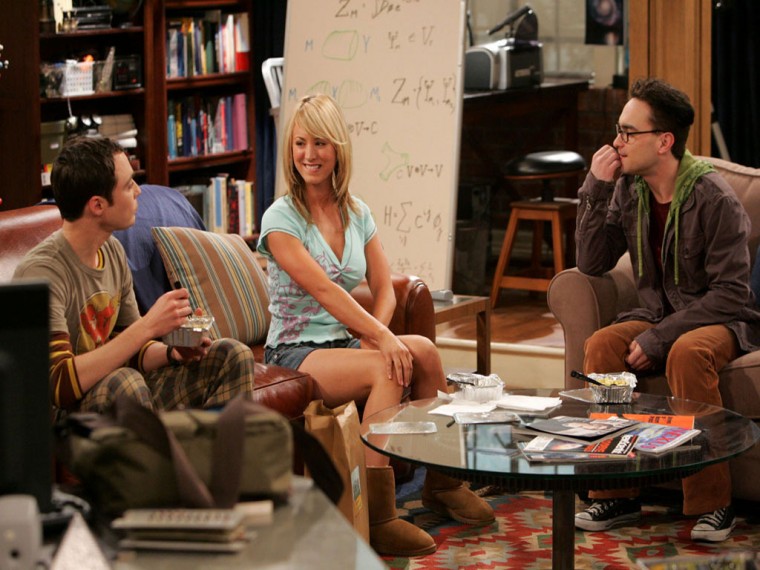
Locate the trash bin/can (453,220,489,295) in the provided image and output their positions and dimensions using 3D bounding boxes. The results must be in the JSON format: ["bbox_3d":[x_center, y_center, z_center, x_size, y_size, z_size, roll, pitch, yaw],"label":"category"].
[{"bbox_3d":[0.640,-0.178,5.206,0.305,0.521,0.303,5,9,17],"label":"trash bin/can"}]

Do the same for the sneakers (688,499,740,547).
[{"bbox_3d":[1.125,0.779,2.511,0.266,0.122,0.095,0,-12,-42],"label":"sneakers"}]

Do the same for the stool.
[{"bbox_3d":[1.085,-0.362,4.931,0.672,0.927,0.611,-5,6,-34],"label":"stool"}]

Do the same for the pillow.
[{"bbox_3d":[-0.615,0.015,2.722,0.153,0.313,0.447,-40,-17,19],"label":"pillow"}]

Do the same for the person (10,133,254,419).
[{"bbox_3d":[-0.692,0.127,2.200,0.654,1.051,0.578,-3,7,-4],"label":"person"}]

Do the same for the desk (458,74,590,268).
[{"bbox_3d":[0.962,-0.808,5.082,1.018,1.078,0.832,6,25,22],"label":"desk"}]

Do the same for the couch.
[{"bbox_3d":[-0.566,-0.090,2.755,1.221,1.135,1.359,9,17,28],"label":"couch"}]

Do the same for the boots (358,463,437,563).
[{"bbox_3d":[0.025,0.710,2.388,0.303,0.263,0.131,-2,-10,28],"label":"boots"}]

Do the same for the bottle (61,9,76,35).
[{"bbox_3d":[-1.687,-1.427,4.093,0.092,0.124,0.033,-5,6,-23],"label":"bottle"}]

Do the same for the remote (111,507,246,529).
[{"bbox_3d":[-0.287,0.332,1.072,0.119,0.023,0.074,0,0,4],"label":"remote"}]

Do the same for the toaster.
[{"bbox_3d":[0.829,-1.466,5.034,0.396,0.288,0.551,13,25,38],"label":"toaster"}]

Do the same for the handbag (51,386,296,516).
[{"bbox_3d":[-0.286,0.236,1.069,0.248,0.091,0.191,0,6,-10],"label":"handbag"}]

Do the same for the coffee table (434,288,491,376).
[{"bbox_3d":[0.379,0.177,3.417,0.300,0.350,0.319,7,16,38],"label":"coffee table"}]
